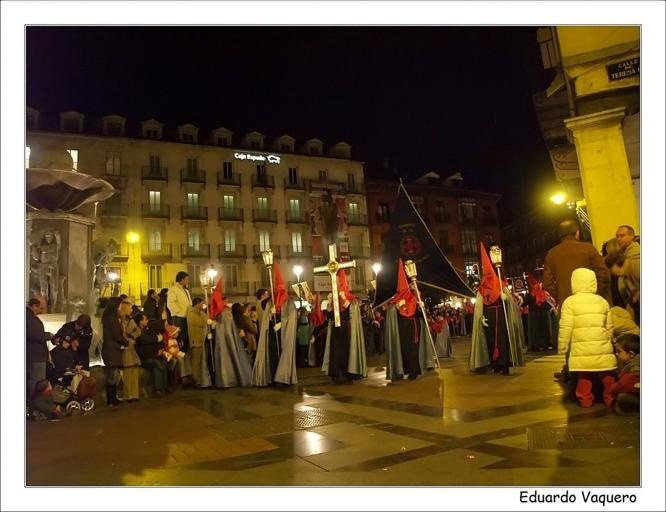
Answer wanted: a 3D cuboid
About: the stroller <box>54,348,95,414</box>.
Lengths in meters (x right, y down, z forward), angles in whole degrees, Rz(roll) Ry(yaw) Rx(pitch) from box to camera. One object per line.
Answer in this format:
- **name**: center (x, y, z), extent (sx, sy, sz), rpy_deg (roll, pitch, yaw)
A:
- **stroller**: center (-4.738, 2.238, 9.390), extent (0.658, 1.169, 0.693), rpy_deg (-1, -2, -33)
